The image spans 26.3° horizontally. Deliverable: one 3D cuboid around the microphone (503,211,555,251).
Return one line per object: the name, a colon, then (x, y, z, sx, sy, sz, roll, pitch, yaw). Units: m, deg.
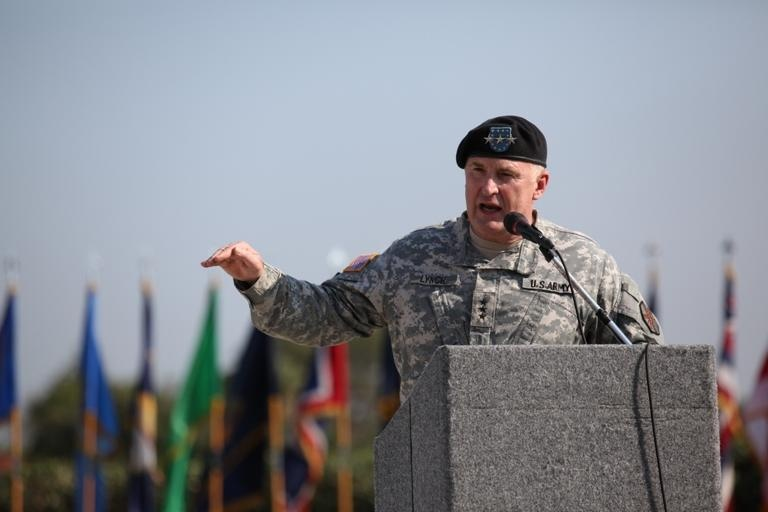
microphone: (0.868, -0.183, 10.029, 0.136, 0.130, 0.432, 16, 10, -28)
